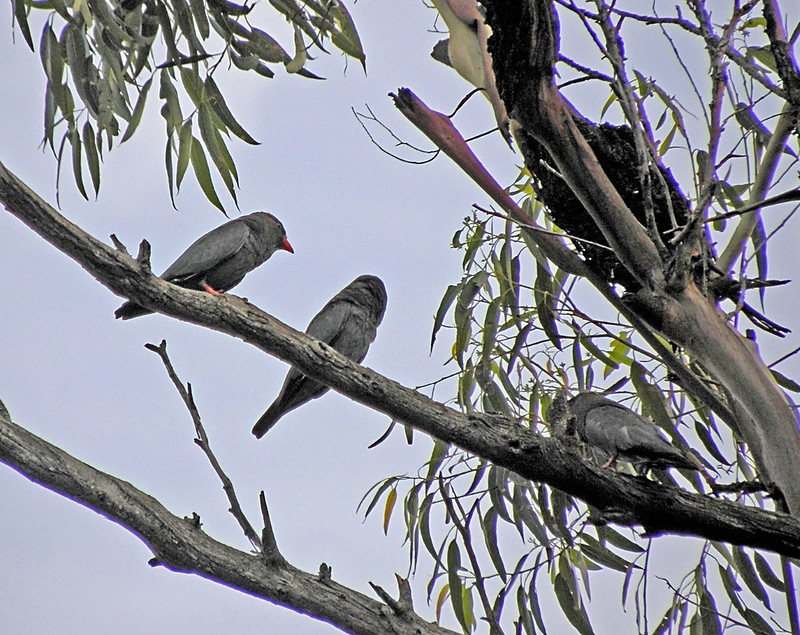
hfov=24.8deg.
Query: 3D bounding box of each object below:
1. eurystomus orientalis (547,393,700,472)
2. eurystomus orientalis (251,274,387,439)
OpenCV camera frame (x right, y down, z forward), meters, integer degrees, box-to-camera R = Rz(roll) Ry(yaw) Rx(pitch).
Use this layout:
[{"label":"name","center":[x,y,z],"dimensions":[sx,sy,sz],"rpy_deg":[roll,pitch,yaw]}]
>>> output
[{"label":"eurystomus orientalis","center":[0.591,0.297,4.662],"dimensions":[0.339,0.256,0.144],"rpy_deg":[-2,-33,22]},{"label":"eurystomus orientalis","center":[-0.222,0.103,5.435],"dimensions":[0.388,0.485,0.222],"rpy_deg":[-14,-47,14]}]
